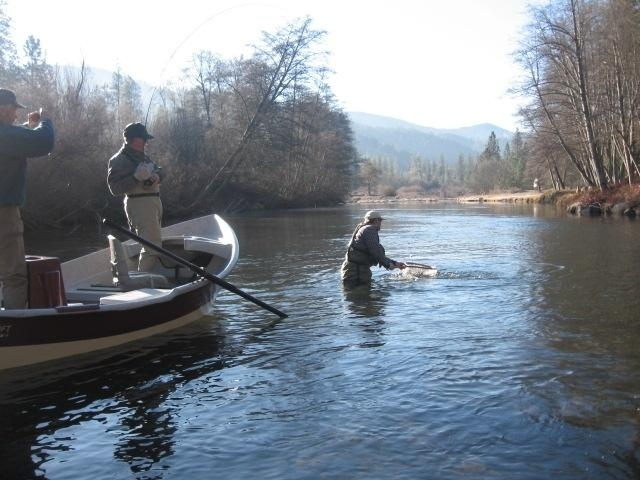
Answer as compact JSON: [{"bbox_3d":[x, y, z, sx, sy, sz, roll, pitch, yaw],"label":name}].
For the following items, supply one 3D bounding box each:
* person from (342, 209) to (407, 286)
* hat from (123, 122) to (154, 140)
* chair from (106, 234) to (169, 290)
[{"bbox_3d":[0.842,0.140,10.357,0.841,1.276,0.898,-7,14,-21],"label":"person"},{"bbox_3d":[-2.479,-1.539,8.401,0.419,0.191,0.272,-9,11,-43],"label":"hat"},{"bbox_3d":[-2.436,0.326,8.406,0.710,0.716,0.905,-16,5,4],"label":"chair"}]
